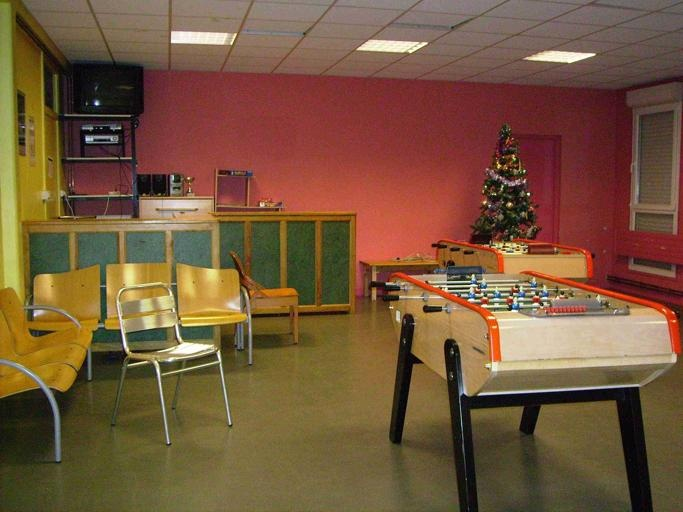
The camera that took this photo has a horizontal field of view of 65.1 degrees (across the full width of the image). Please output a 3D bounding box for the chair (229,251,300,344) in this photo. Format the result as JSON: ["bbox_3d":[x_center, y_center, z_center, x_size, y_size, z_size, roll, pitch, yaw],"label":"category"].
[{"bbox_3d":[-0.909,0.515,6.552,0.787,1.037,0.683,-1,-2,-17],"label":"chair"}]

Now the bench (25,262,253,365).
[{"bbox_3d":[-1.932,0.629,5.152,2.040,1.014,0.668,-2,6,-17],"label":"bench"}]

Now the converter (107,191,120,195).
[{"bbox_3d":[-3.358,-0.933,7.941,0.173,0.049,0.461,-3,10,-23],"label":"converter"}]

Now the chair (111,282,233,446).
[{"bbox_3d":[-1.547,0.746,4.740,0.881,1.114,1.956,-3,9,-19],"label":"chair"}]

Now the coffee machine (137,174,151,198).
[{"bbox_3d":[-2.902,-1.038,7.876,0.198,0.319,0.148,-2,9,-12],"label":"coffee machine"}]

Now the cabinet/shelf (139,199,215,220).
[{"bbox_3d":[-2.431,-0.735,7.979,1.079,0.288,0.278,-4,10,-24],"label":"cabinet/shelf"}]

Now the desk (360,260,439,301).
[{"bbox_3d":[0.923,0.338,9.058,1.118,0.659,0.685,-2,9,-14],"label":"desk"}]

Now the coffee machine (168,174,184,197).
[{"bbox_3d":[-2.486,-1.073,8.034,0.195,0.317,0.111,-1,9,-5],"label":"coffee machine"}]

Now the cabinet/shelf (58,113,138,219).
[{"bbox_3d":[-3.532,-1.321,7.913,1.084,1.467,0.919,-3,9,-20],"label":"cabinet/shelf"}]
